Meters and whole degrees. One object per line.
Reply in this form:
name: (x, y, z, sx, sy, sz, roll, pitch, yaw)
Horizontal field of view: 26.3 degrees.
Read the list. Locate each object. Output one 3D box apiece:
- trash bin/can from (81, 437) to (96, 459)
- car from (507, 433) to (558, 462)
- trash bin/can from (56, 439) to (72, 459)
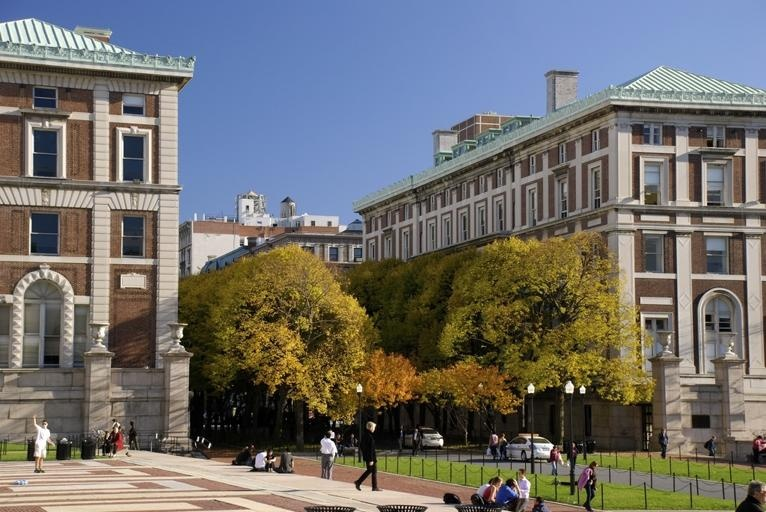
trash bin/can: (-21.538, 13.780, 119.071, 0.935, 1.491, 1.363, 3, -10, -11)
car: (11.530, 15.100, 131.661, 2.143, 1.350, 4.368, 2, -3, -18)
trash bin/can: (-23.182, 13.716, 118.296, 1.021, 1.438, 1.522, 3, -10, -11)
